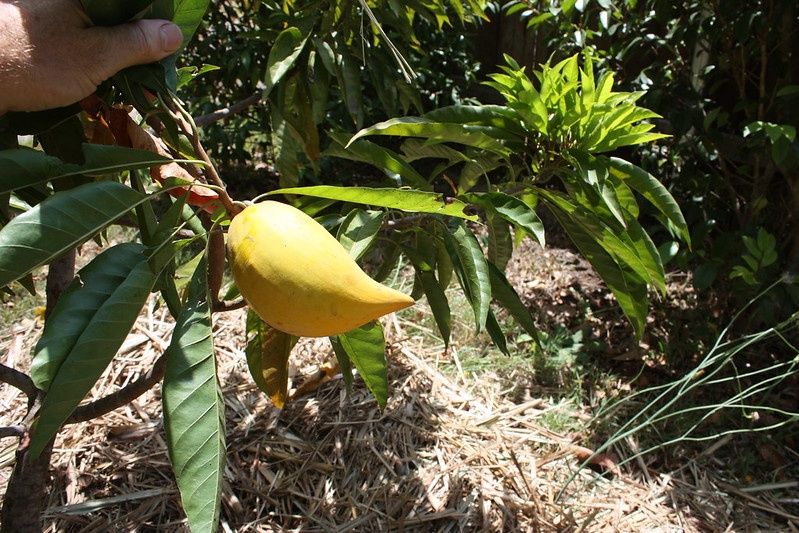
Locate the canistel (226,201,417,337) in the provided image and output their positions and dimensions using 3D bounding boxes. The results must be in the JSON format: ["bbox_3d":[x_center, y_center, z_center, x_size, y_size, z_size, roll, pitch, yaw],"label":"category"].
[{"bbox_3d":[-0.207,0.025,1.639,0.448,0.239,0.241,18,42,-5],"label":"canistel"}]
